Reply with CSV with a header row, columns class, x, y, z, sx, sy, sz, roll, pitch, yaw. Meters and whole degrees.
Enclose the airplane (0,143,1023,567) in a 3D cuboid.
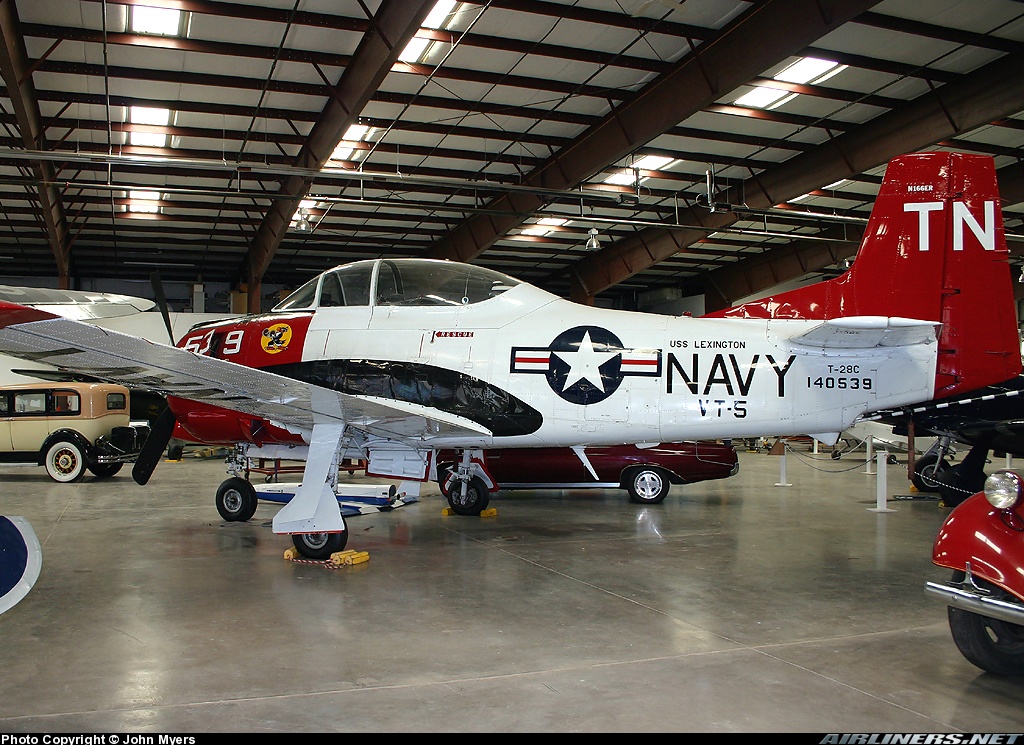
class,x,y,z,sx,sy,sz,roll,pitch,yaw
airplane,0.848,-0.265,7.649,8.002,1.850,6.958,0,-4,14
